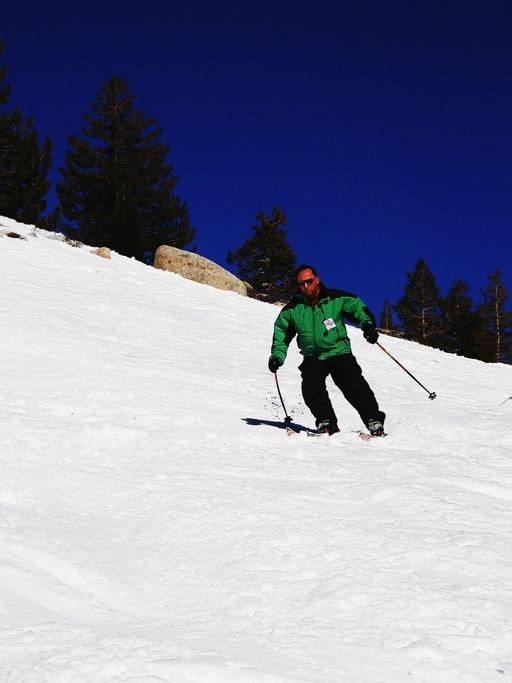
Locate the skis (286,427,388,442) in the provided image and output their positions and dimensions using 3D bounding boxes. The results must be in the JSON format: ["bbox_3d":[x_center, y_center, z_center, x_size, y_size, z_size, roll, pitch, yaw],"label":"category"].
[{"bbox_3d":[0.873,1.015,8.641,0.715,0.088,0.091,5,-6,-8],"label":"skis"}]

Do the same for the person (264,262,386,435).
[{"bbox_3d":[0.811,0.087,8.750,1.399,1.779,0.690,8,11,14],"label":"person"}]

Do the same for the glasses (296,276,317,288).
[{"bbox_3d":[0.506,-0.651,8.695,0.220,0.127,0.143,12,12,38],"label":"glasses"}]

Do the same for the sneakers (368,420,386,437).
[{"bbox_3d":[1.314,0.952,8.666,0.190,0.155,0.172,-7,2,13],"label":"sneakers"}]

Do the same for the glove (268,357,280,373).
[{"bbox_3d":[0.206,0.247,8.829,0.177,0.207,0.282,-2,0,1],"label":"glove"}]
